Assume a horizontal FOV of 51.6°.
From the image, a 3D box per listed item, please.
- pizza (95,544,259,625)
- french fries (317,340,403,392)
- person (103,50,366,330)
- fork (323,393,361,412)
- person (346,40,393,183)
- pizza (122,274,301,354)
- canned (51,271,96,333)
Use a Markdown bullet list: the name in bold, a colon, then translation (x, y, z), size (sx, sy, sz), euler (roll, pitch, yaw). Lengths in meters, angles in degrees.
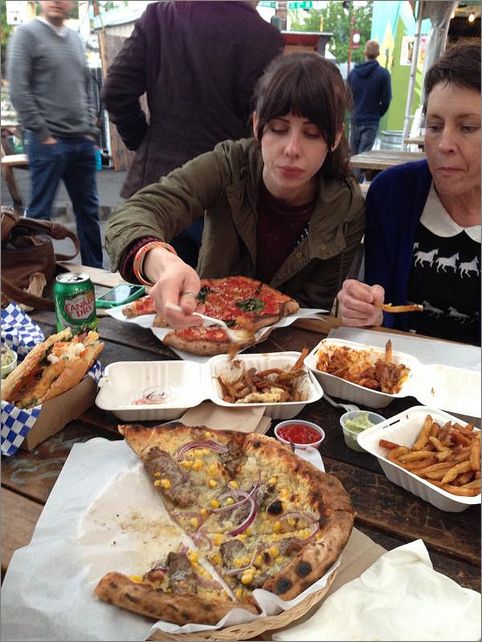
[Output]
- **pizza**: translation (-0.124, 0.516, 0.969), size (0.202, 0.036, 0.163), euler (-6, 14, -40)
- **french fries**: translation (0.444, 0.170, 1.868), size (0.270, 0.054, 0.179), euler (20, 37, 25)
- **person**: translation (0.094, -0.588, 2.634), size (1.820, 1.385, 0.925), euler (2, 24, 4)
- **fork**: translation (0.356, 0.287, 1.745), size (0.024, 0.023, 0.194), euler (-32, 25, -20)
- **person**: translation (2.571, -4.160, 10.146), size (0.940, 2.825, 0.880), euler (-25, 39, -34)
- **pizza**: translation (-0.018, -0.047, 2.445), size (0.477, 0.057, 0.514), euler (20, 38, 33)
- **canned**: translation (-0.613, -0.070, 1.824), size (0.139, 0.241, 0.126), euler (-4, 25, -25)
